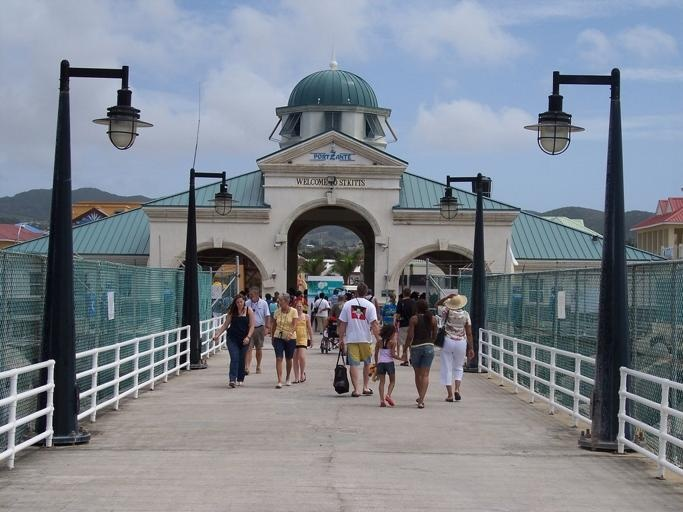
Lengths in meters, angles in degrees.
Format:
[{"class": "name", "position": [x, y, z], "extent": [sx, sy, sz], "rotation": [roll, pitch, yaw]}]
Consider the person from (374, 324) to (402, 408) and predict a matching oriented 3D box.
[{"class": "person", "position": [0.892, 2.130, 19.231], "extent": [0.429, 1.607, 1.478], "rotation": [0, 0, 3]}]

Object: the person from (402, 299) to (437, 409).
[{"class": "person", "position": [1.582, 1.898, 19.027], "extent": [0.607, 2.088, 1.070], "rotation": [0, -1, 6]}]

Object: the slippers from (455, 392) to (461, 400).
[{"class": "slippers", "position": [2.385, 2.858, 19.614], "extent": [0.123, 0.174, 0.489], "rotation": [0, 0, 15]}]

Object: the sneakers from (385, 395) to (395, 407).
[{"class": "sneakers", "position": [0.918, 2.830, 18.678], "extent": [0.116, 0.284, 0.104], "rotation": [-13, -29, -44]}]

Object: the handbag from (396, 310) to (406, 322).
[{"class": "handbag", "position": [1.610, 1.622, 26.071], "extent": [0.250, 0.275, 0.486], "rotation": [2, 1, 8]}]

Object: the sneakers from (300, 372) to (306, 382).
[{"class": "sneakers", "position": [-0.912, 2.828, 22.354], "extent": [0.178, 0.241, 0.553], "rotation": [-1, -4, -1]}]

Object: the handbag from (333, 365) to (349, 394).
[{"class": "handbag", "position": [-0.015, 2.558, 19.494], "extent": [0.307, 0.560, 0.563], "rotation": [1, -18, -1]}]

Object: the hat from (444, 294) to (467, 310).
[{"class": "hat", "position": [2.356, 0.955, 19.945], "extent": [0.426, 0.308, 0.320], "rotation": [0, 0, 14]}]

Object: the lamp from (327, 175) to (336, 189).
[{"class": "lamp", "position": [-0.482, -3.705, 47.666], "extent": [0.466, 0.638, 0.154], "rotation": [0, -1, -2]}]

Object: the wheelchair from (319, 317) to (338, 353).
[{"class": "wheelchair", "position": [-0.256, 2.558, 31.093], "extent": [0.745, 1.210, 1.000], "rotation": [-1, 2, 16]}]

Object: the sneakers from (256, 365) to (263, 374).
[{"class": "sneakers", "position": [-2.104, 2.909, 24.422], "extent": [0.112, 0.194, 0.193], "rotation": [1, -6, -6]}]

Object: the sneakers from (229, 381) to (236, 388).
[{"class": "sneakers", "position": [-2.385, 2.800, 20.868], "extent": [0.085, 0.074, 0.207], "rotation": [6, -2, -21]}]

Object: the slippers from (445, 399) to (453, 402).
[{"class": "slippers", "position": [2.179, 2.907, 19.372], "extent": [0.160, 0.059, 0.172], "rotation": [0, 0, 5]}]
